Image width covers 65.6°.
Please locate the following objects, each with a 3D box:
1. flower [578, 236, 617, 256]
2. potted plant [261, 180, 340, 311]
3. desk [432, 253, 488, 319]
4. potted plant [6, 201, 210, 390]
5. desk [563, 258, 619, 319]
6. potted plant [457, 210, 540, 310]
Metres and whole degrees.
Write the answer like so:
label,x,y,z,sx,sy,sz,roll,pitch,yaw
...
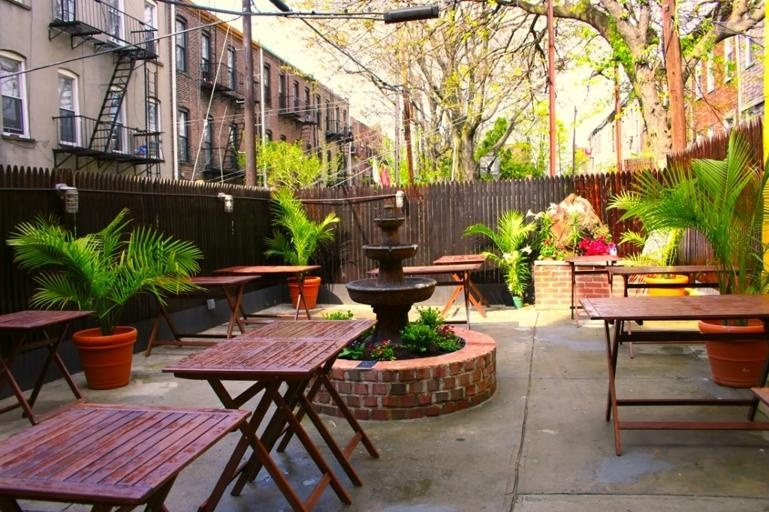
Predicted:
label,x,y,z,sx,sy,sz,roll,pitch,yaw
flower,4.347,-0.179,12.097,0.475,0.296,0.476,1,-1,-4
potted plant,-1.837,-0.606,14.444,1.661,2.396,1.424,1,-5,-40
desk,1.663,0.628,12.481,0.743,0.938,1.331,-6,-1,14
potted plant,-4.235,0.561,8.698,2.337,1.996,2.442,-3,-2,45
desk,4.159,0.736,11.948,0.998,1.137,0.893,-3,12,26
potted plant,2.744,0.100,13.718,2.205,2.259,1.873,-2,1,5
